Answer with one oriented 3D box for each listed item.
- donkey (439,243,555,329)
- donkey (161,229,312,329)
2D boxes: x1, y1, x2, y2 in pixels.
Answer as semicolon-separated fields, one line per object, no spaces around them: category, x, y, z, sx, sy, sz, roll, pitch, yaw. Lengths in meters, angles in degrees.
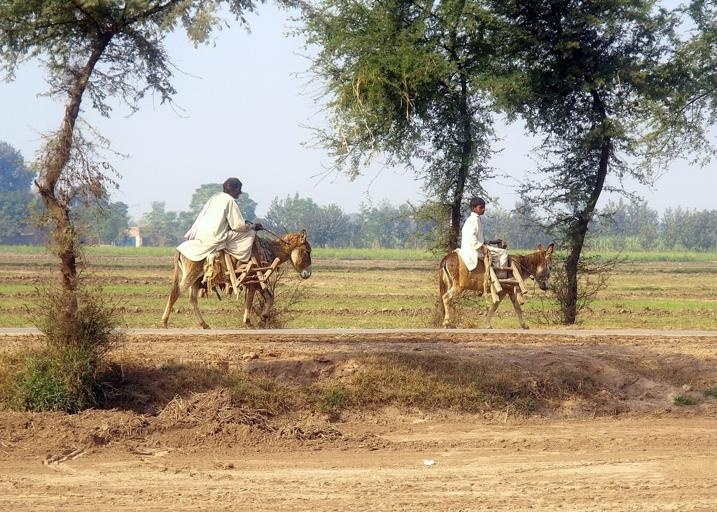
donkey;4.422;1.532;44.685;4.304;3.071;3.151;-1;9;-8
donkey;-3.780;0.799;42.474;4.700;3.474;1.184;2;9;-12
